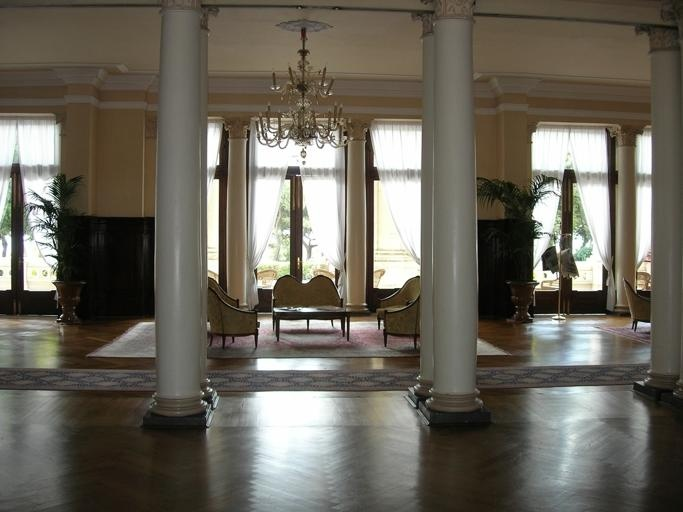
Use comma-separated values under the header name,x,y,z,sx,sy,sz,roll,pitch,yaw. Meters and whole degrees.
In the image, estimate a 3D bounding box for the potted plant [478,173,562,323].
name,x,y,z,sx,sy,sz,roll,pitch,yaw
potted plant,3.607,-0.214,11.928,1.671,3.008,1.252,0,3,2

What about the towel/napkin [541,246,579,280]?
name,x,y,z,sx,sy,sz,roll,pitch,yaw
towel/napkin,4.679,0.157,12.035,0.557,0.749,0.265,3,20,36

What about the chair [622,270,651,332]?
name,x,y,z,sx,sy,sz,roll,pitch,yaw
chair,5.374,0.910,10.341,0.420,0.954,1.083,2,3,27

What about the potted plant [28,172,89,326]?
name,x,y,z,sx,sy,sz,roll,pitch,yaw
potted plant,-5.773,-0.191,11.521,0.853,2.934,1.617,-2,4,-44
